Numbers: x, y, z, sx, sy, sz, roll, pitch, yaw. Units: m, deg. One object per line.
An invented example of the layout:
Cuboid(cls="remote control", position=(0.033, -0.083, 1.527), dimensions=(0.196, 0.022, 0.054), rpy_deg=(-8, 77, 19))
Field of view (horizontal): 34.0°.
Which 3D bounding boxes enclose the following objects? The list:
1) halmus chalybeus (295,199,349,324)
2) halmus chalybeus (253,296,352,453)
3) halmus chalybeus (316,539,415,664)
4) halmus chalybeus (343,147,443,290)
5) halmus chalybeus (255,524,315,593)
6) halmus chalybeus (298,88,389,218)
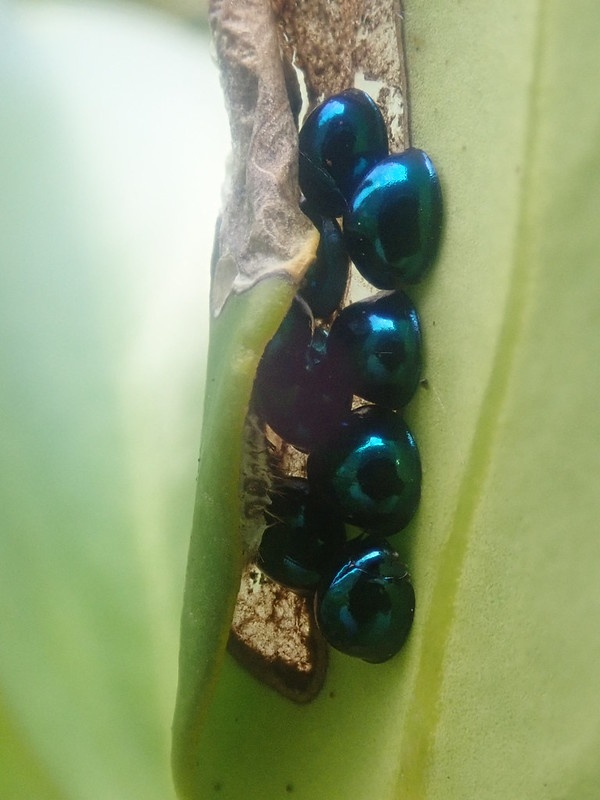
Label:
Cuboid(cls="halmus chalybeus", position=(0.009, -0.093, 0.631), dimensions=(0.020, 0.064, 0.051), rpy_deg=(4, 26, -5))
Cuboid(cls="halmus chalybeus", position=(0.010, -0.014, 0.612), dimensions=(0.044, 0.088, 0.066), rpy_deg=(0, 0, -44))
Cuboid(cls="halmus chalybeus", position=(0.042, 0.131, 0.624), dimensions=(0.061, 0.077, 0.047), rpy_deg=(-10, 27, -14))
Cuboid(cls="halmus chalybeus", position=(0.063, -0.118, 0.631), dimensions=(0.063, 0.083, 0.022), rpy_deg=(35, 32, 31))
Cuboid(cls="halmus chalybeus", position=(-0.009, 0.106, 0.643), dimensions=(0.040, 0.060, 0.028), rpy_deg=(-4, 26, -2))
Cuboid(cls="halmus chalybeus", position=(0.026, -0.158, 0.646), dimensions=(0.060, 0.079, 0.024), rpy_deg=(26, 19, 25))
